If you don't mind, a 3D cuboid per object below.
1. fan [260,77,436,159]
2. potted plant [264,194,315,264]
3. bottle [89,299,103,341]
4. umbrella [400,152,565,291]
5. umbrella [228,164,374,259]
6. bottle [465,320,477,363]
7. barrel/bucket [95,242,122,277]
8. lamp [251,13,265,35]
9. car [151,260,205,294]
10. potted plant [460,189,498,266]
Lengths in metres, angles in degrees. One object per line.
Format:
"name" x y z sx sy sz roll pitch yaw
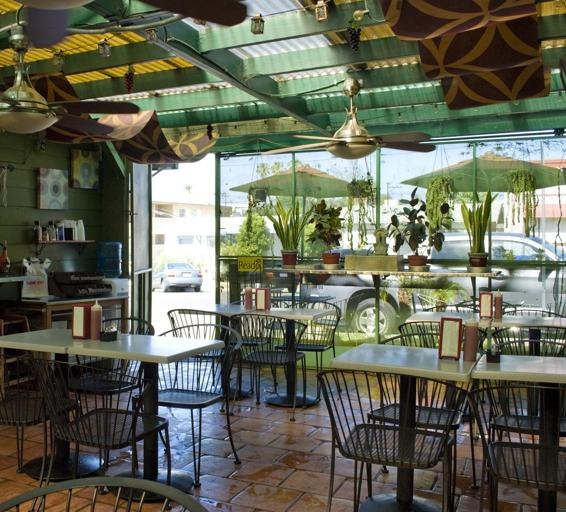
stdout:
"fan" 0.529 -0.933 3.632 1.212 0.460 1.061 -20 25 -38
"potted plant" 0.068 -0.287 6.074 0.965 0.810 0.858 0 -2 1
"bottle" -1.266 0.444 3.540 0.080 0.232 0.054 -1 2 2
"umbrella" 2.342 -0.371 5.954 2.052 1.042 1.714 0 -6 10
"umbrella" 0.299 -0.577 6.729 1.604 0.522 1.427 -2 -4 28
"bottle" 1.071 0.483 3.010 0.074 0.219 0.111 0 2 17
"barrel/bucket" -2.276 0.037 6.868 0.342 0.473 0.319 -1 2 0
"lamp" -0.177 -1.591 3.617 0.084 0.124 0.132 0 2 10
"car" -4.000 0.771 19.692 1.272 0.708 2.666 0 0 -19
"potted plant" 1.818 -0.252 4.953 0.267 0.709 0.578 0 2 19
